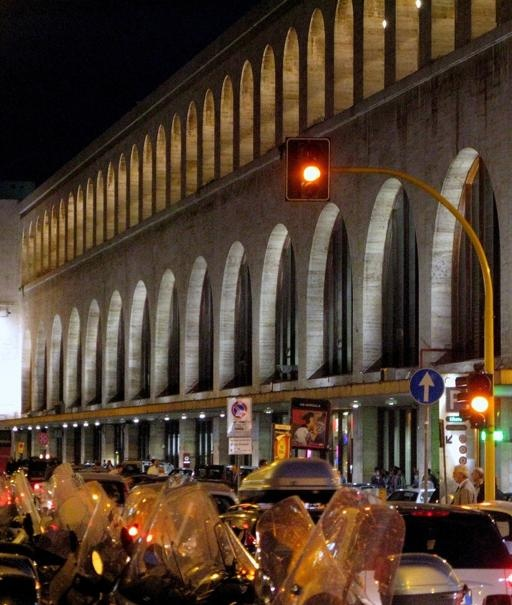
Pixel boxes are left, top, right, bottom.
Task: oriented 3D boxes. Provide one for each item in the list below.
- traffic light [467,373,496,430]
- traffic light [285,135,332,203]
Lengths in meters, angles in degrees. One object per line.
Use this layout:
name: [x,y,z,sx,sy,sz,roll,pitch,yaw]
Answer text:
traffic light: [3.456,1.485,19.029,0.410,0.895,0.308,-5,-8,8]
traffic light: [0.713,-1.777,16.800,0.589,1.009,0.423,0,-23,2]
